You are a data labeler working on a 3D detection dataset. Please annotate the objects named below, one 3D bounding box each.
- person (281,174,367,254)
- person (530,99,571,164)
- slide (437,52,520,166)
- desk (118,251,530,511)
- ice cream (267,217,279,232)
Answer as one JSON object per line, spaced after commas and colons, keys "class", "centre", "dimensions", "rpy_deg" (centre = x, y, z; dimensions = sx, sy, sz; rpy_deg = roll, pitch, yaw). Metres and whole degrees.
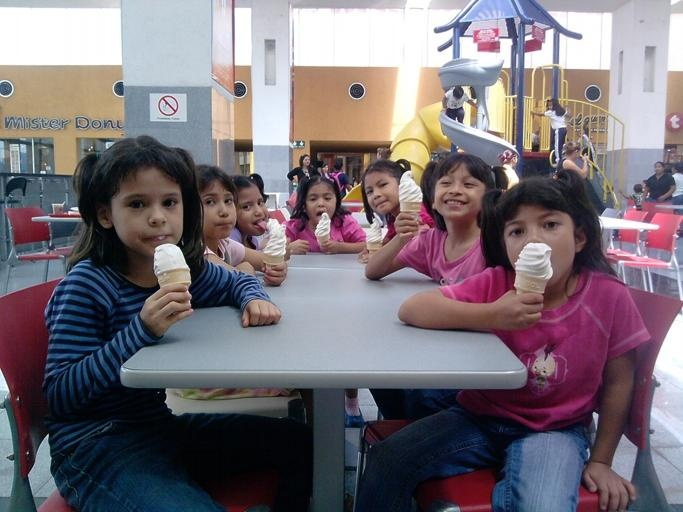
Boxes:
{"class": "person", "centre": [-0.112, -0.233, 3.447], "dimensions": [0.511, 0.732, 0.475], "rpy_deg": [-4, 2, -6]}
{"class": "person", "centre": [3.223, -1.957, 8.815], "dimensions": [0.518, 1.086, 0.503], "rpy_deg": [-8, 31, 9]}
{"class": "slide", "centre": [1.544, -1.657, 6.560], "dimensions": [0.826, 1.193, 0.552], "rpy_deg": [1, 10, 12]}
{"class": "desk", "centre": [-0.023, 0.400, 1.734], "dimensions": [0.924, 0.487, 0.917], "rpy_deg": [-1, 9, 2]}
{"class": "ice cream", "centre": [-0.272, -0.118, 2.217], "dimensions": [0.054, 0.033, 0.074], "rpy_deg": [0, 1, -5]}
